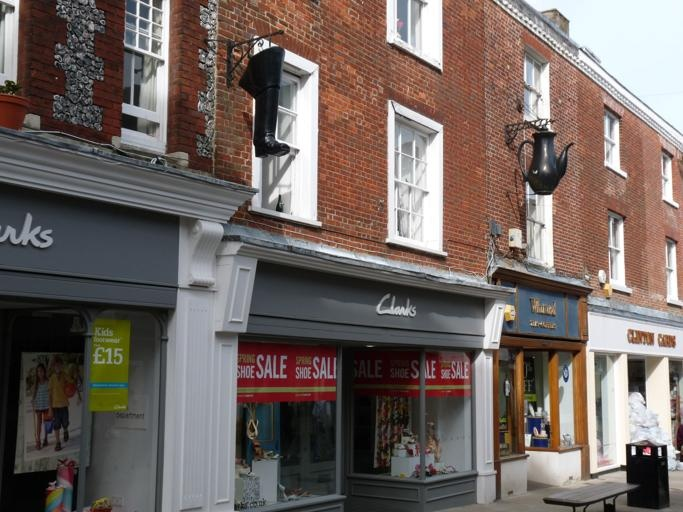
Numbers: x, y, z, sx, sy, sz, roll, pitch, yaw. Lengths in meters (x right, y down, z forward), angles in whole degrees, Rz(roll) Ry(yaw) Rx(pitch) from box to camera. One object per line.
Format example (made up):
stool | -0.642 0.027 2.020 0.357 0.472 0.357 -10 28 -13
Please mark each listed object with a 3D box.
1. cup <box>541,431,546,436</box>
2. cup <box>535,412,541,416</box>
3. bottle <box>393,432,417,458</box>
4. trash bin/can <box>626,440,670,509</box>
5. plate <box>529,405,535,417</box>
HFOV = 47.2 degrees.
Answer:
cup | 4.473 3.946 17.256 0.068 0.149 0.073 -1 2 0
cup | 4.373 3.523 17.328 0.112 0.127 0.062 7 -13 -29
bottle | 1.153 3.410 13.995 0.342 0.421 0.387 -1 -7 8
trash bin/can | 5.577 4.019 14.222 0.763 1.176 0.408 -5 -16 18
plate | 4.189 3.405 17.150 0.036 0.243 0.262 -10 -19 34
